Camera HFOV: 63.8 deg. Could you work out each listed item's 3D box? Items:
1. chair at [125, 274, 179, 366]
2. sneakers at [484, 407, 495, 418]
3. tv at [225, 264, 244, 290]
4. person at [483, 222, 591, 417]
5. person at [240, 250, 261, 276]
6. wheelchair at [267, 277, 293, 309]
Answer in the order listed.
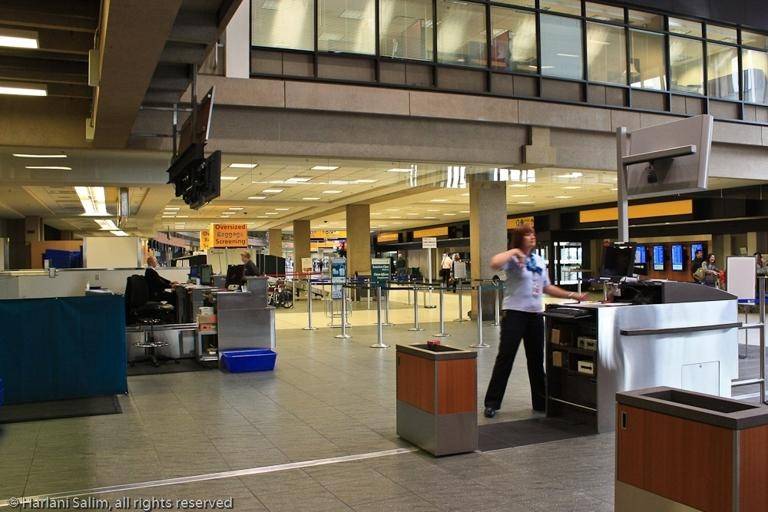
[{"bbox_3d":[-4.398,1.122,11.636,0.839,1.668,1.396,-4,7,-21],"label":"chair"},{"bbox_3d":[1.350,2.001,7.874,0.080,0.095,0.230,-1,-14,5],"label":"sneakers"},{"bbox_3d":[-2.881,0.404,11.912,0.111,0.416,0.476,15,-15,-42],"label":"tv"},{"bbox_3d":[1.771,0.835,7.921,1.124,2.425,0.582,-4,7,-18],"label":"person"},{"bbox_3d":[-3.415,0.179,15.546,0.328,0.622,1.048,-3,6,-13],"label":"person"},{"bbox_3d":[-3.875,1.376,22.863,1.167,1.452,0.578,3,14,-4],"label":"wheelchair"}]
